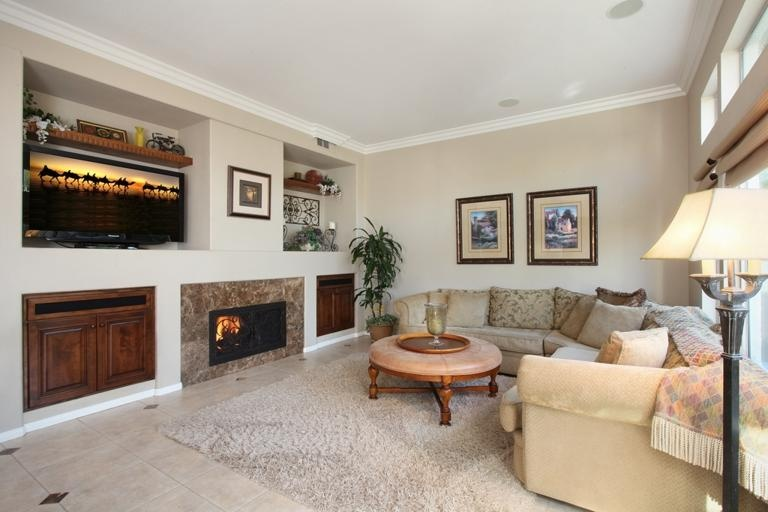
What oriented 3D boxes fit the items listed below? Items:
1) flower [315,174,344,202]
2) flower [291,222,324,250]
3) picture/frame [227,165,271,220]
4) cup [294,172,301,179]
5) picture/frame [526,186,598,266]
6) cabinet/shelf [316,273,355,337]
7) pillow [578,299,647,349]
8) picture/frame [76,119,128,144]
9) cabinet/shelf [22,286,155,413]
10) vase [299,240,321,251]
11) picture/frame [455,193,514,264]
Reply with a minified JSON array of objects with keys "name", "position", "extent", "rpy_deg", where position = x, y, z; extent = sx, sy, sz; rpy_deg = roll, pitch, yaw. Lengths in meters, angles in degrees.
[{"name":"flower","position":[-0.850,-1.140,7.750],"extent":[0.378,0.275,0.590],"rpy_deg":[-1,0,-2]},{"name":"flower","position":[-1.154,-0.284,7.185],"extent":[0.409,0.267,0.400],"rpy_deg":[1,-2,-5]},{"name":"picture/frame","position":[-1.739,-0.806,6.106],"extent":[0.075,0.712,0.741],"rpy_deg":[-4,-6,40]},{"name":"cup","position":[-1.319,-1.234,7.395],"extent":[0.092,0.100,0.091],"rpy_deg":[-1,0,0]},{"name":"picture/frame","position":[2.389,-0.388,6.289],"extent":[1.083,1.254,0.086],"rpy_deg":[-1,-2,36]},{"name":"cabinet/shelf","position":[-0.756,0.743,7.291],"extent":[0.384,0.929,1.006],"rpy_deg":[-3,-5,32]},{"name":"pillow","position":[2.443,0.718,5.154],"extent":[0.205,0.498,0.501],"rpy_deg":[39,-14,-22]},{"name":"picture/frame","position":[-3.211,-1.405,5.425],"extent":[0.455,0.249,0.020],"rpy_deg":[13,-40,-44]},{"name":"cabinet/shelf","position":[-3.044,0.952,4.852],"extent":[0.617,1.183,1.281],"rpy_deg":[-5,-6,39]},{"name":"vase","position":[-1.079,-0.150,7.116],"extent":[0.204,0.088,0.158],"rpy_deg":[4,-6,-36]},{"name":"picture/frame","position":[1.481,-0.386,6.823],"extent":[1.057,1.198,0.090],"rpy_deg":[-1,-1,34]}]
